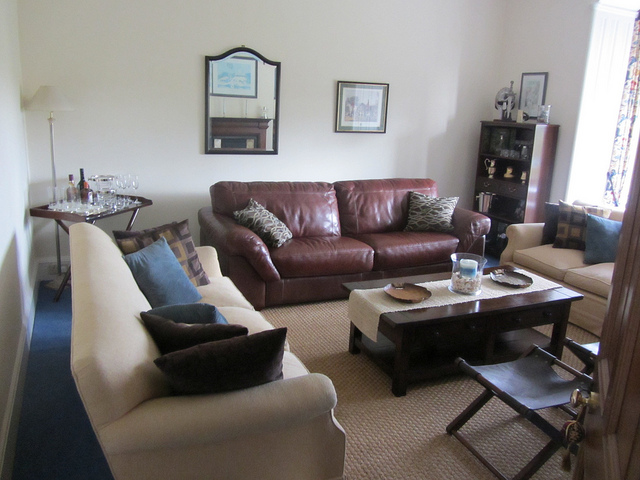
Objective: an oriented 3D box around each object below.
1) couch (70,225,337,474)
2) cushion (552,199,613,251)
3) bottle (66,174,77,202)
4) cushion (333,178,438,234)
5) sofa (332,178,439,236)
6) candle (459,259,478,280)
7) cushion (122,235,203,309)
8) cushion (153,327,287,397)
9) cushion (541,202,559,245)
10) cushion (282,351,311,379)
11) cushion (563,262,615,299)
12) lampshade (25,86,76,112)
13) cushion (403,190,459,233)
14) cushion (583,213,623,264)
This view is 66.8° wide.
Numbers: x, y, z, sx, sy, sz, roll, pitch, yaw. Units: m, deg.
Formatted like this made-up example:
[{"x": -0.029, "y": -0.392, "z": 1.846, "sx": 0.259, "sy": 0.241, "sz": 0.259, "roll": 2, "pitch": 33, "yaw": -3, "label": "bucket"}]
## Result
[{"x": -0.666, "y": 0.609, "z": 2.314, "sx": 0.959, "sy": 0.937, "sz": 1.234, "roll": -12, "pitch": 18, "yaw": -39, "label": "couch"}, {"x": 2.373, "y": -0.128, "z": 4.555, "sx": 0.533, "sy": 0.444, "sz": 0.194, "roll": 5, "pitch": 17, "yaw": -26, "label": "cushion"}, {"x": -2.260, "y": -0.472, "z": 4.409, "sx": 0.082, "sy": 0.236, "sz": 0.175, "roll": -8, "pitch": 16, "yaw": -28, "label": "bottle"}, {"x": 0.609, "y": -0.336, "z": 5.115, "sx": 1.093, "sy": 0.568, "sz": 0.208, "roll": -6, "pitch": 6, "yaw": -36, "label": "cushion"}, {"x": 0.756, "y": -0.371, "z": 5.200, "sx": 1.173, "sy": 0.606, "sz": 0.378, "roll": -7, "pitch": 9, "yaw": -18, "label": "sofa"}, {"x": 1.034, "y": 0.204, "z": 3.383, "sx": 0.118, "sy": 0.143, "sz": 0.123, "roll": 1, "pitch": 3, "yaw": 11, "label": "candle"}, {"x": -0.910, "y": 0.208, "z": 2.807, "sx": 0.115, "sy": 0.379, "sz": 0.396, "roll": -29, "pitch": 3, "yaw": 22, "label": "cushion"}, {"x": -0.488, "y": 0.491, "z": 2.329, "sx": 0.674, "sy": 0.270, "sz": 0.469, "roll": -5, "pitch": 1, "yaw": -19, "label": "cushion"}, {"x": 2.201, "y": -0.150, "z": 4.679, "sx": 0.307, "sy": 0.323, "sz": 0.111, "roll": 1, "pitch": -2, "yaw": -37, "label": "cushion"}, {"x": -0.138, "y": 0.634, "z": 2.574, "sx": 0.165, "sy": 0.080, "sz": 0.116, "roll": 6, "pitch": -3, "yaw": 26, "label": "cushion"}, {"x": 2.204, "y": 0.309, "z": 3.952, "sx": 0.317, "sy": 0.083, "sz": 0.297, "roll": -7, "pitch": 12, "yaw": -16, "label": "cushion"}, {"x": -2.334, "y": -1.169, "z": 4.180, "sx": 0.263, "sy": 0.138, "sz": 0.274, "roll": 5, "pitch": 15, "yaw": 14, "label": "lampshade"}, {"x": 1.120, "y": -0.276, "z": 4.959, "sx": 0.397, "sy": 0.156, "sz": 0.363, "roll": 5, "pitch": 57, "yaw": 15, "label": "cushion"}, {"x": 2.535, "y": 0.006, "z": 4.304, "sx": 0.494, "sy": 0.401, "sz": 0.177, "roll": 4, "pitch": 16, "yaw": -20, "label": "cushion"}]
